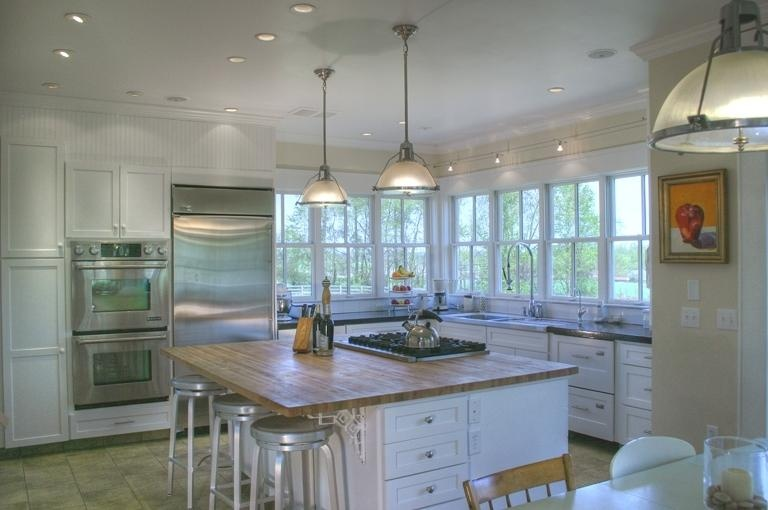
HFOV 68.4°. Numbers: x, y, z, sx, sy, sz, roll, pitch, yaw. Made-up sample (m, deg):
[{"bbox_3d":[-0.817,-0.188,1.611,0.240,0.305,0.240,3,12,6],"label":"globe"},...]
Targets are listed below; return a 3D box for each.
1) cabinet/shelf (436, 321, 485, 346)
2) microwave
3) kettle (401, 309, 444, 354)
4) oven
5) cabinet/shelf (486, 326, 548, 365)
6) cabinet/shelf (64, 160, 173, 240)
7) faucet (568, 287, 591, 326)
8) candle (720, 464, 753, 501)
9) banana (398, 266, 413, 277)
[{"bbox_3d":[0.933,0.904,6.729,0.270,0.286,0.473,3,-3,-28],"label":"cabinet/shelf"},{"bbox_3d":[-2.682,1.111,5.782,0.856,0.685,0.580,0,4,-28],"label":"microwave"},{"bbox_3d":[0.280,0.540,4.243,0.324,0.261,0.231,2,7,8],"label":"kettle"},{"bbox_3d":[-2.570,0.323,6.002,1.176,1.115,0.822,1,-4,-26],"label":"oven"},{"bbox_3d":[1.442,0.876,6.068,0.301,0.485,0.542,3,-4,-38],"label":"cabinet/shelf"},{"bbox_3d":[-2.669,-0.526,5.595,0.895,0.668,0.358,0,-2,-24],"label":"cabinet/shelf"},{"bbox_3d":[2.131,0.549,6.179,0.151,0.371,0.629,-2,0,18],"label":"faucet"},{"bbox_3d":[1.376,0.886,2.200,0.122,0.120,0.120,-1,-2,18],"label":"candle"},{"bbox_3d":[0.280,0.233,7.616,0.090,0.107,0.269,-2,-1,-34],"label":"banana"}]
